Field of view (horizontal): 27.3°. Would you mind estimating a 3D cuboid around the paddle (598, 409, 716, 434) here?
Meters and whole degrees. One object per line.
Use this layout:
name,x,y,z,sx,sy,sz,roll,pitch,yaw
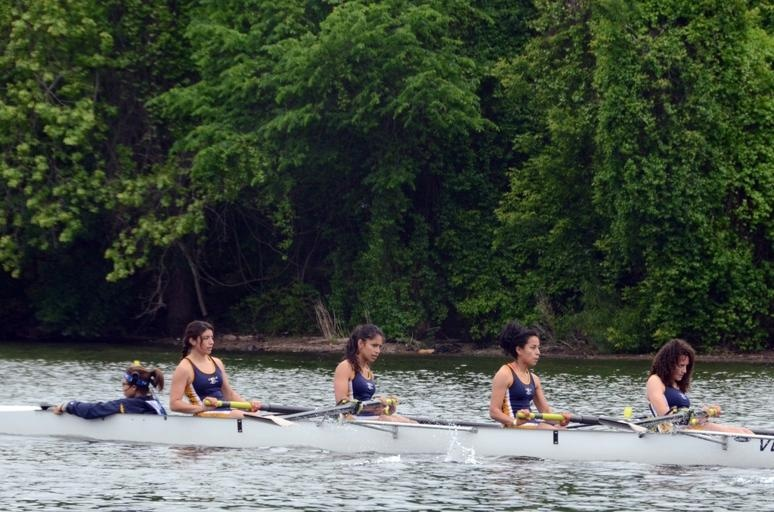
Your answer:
paddle,7.532,4.501,43.485,2.966,0.665,0.602,1,9,8
